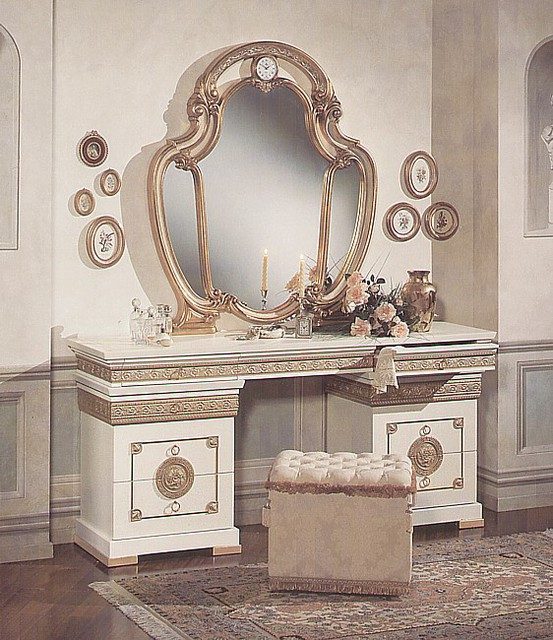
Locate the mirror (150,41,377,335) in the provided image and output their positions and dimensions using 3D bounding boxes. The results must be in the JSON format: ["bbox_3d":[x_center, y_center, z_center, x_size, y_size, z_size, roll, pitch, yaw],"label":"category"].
[{"bbox_3d":[-0.108,-0.628,3.460,1.572,1.648,0.100,-4,6,-29],"label":"mirror"}]

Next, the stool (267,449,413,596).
[{"bbox_3d":[0.229,0.716,2.665,0.503,0.370,0.472,0,0,3],"label":"stool"}]

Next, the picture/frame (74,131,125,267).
[{"bbox_3d":[-0.801,-0.543,3.241,0.133,0.607,0.241,-3,-5,29],"label":"picture/frame"}]

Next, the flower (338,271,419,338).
[{"bbox_3d":[0.489,-0.073,3.429,0.344,0.228,0.328,0,8,-9],"label":"flower"}]

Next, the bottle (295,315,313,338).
[{"bbox_3d":[0.132,0.034,3.352,0.099,0.127,0.094,1,3,0],"label":"bottle"}]

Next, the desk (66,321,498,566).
[{"bbox_3d":[0.061,0.590,3.373,1.892,0.810,0.525,1,-7,-27],"label":"desk"}]

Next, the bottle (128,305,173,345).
[{"bbox_3d":[-0.537,0.024,3.065,0.203,0.199,0.161,3,4,39],"label":"bottle"}]

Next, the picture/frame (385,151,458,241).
[{"bbox_3d":[0.786,-0.674,3.910,0.406,0.487,0.159,1,-5,-28],"label":"picture/frame"}]
